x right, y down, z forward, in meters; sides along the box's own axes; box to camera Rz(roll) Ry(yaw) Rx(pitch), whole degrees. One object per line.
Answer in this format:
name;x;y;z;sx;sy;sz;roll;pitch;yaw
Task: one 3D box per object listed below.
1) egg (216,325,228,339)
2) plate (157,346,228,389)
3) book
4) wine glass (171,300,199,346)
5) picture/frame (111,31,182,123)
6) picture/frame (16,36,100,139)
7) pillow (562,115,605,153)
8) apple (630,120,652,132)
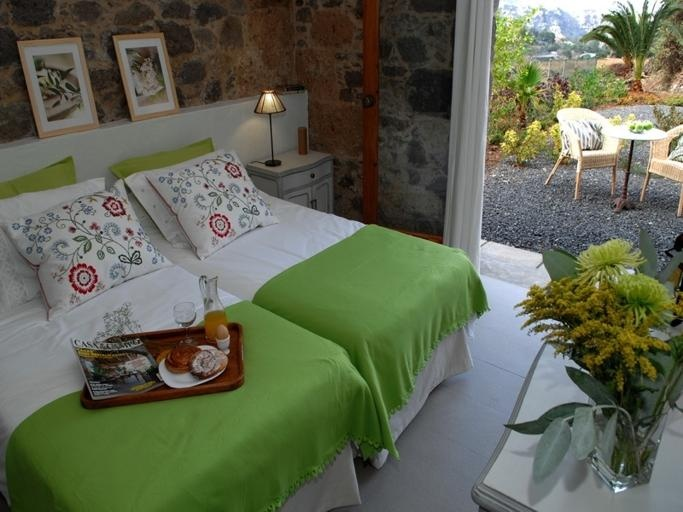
egg;-0.542;0.342;2.082;0.050;0.064;0.052;-16;31;-23
plate;-0.645;0.465;1.973;0.271;0.074;0.225;-19;28;-31
book;-0.951;0.459;1.956;0.269;0.125;0.386;-20;28;-34
wine glass;-0.746;0.291;2.184;0.093;0.212;0.253;-11;24;-21
picture/frame;-1.480;-1.334;3.416;0.028;0.735;0.489;7;26;45
picture/frame;-1.899;-1.107;3.027;0.026;0.752;0.486;5;22;42
pillow;2.489;-1.277;4.654;0.307;0.371;0.102;5;1;7
apple;2.724;-1.189;4.177;0.126;0.063;0.129;-22;32;-37
